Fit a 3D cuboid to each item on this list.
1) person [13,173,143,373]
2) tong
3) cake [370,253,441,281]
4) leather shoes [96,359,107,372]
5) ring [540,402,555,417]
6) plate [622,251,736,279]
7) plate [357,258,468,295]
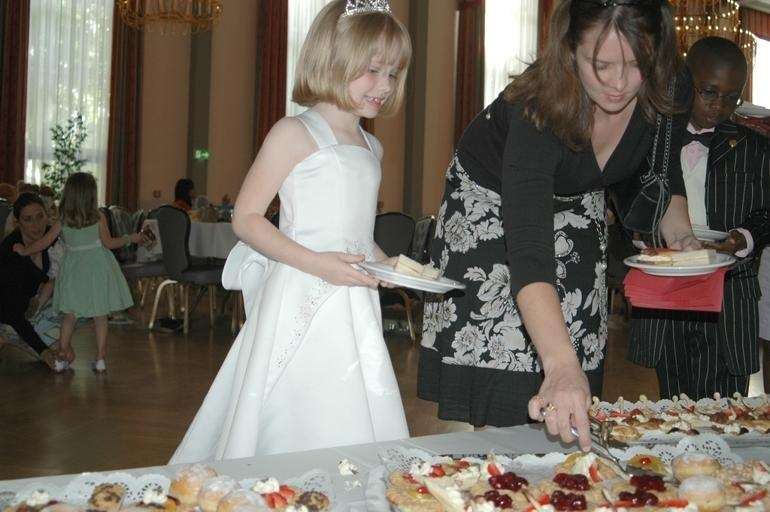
[{"bbox_3d":[-2.101,0.076,4.811,0.507,1.293,0.493,-4,10,-24],"label":"person"},{"bbox_3d":[0.525,0.459,1.669,0.136,0.043,0.161,3,46,-6],"label":"tong"},{"bbox_3d":[0.080,0.034,1.957,0.094,0.039,0.095,17,1,35],"label":"cake"},{"bbox_3d":[-1.939,0.744,4.596,0.043,0.052,0.113,-1,8,-17],"label":"leather shoes"},{"bbox_3d":[0.386,0.367,1.617,0.027,0.039,0.011,-10,-24,44],"label":"ring"},{"bbox_3d":[0.826,0.014,1.903,0.292,0.066,0.148,6,13,30],"label":"plate"},{"bbox_3d":[0.074,0.070,1.926,0.289,0.101,0.152,-1,10,-2],"label":"plate"}]
